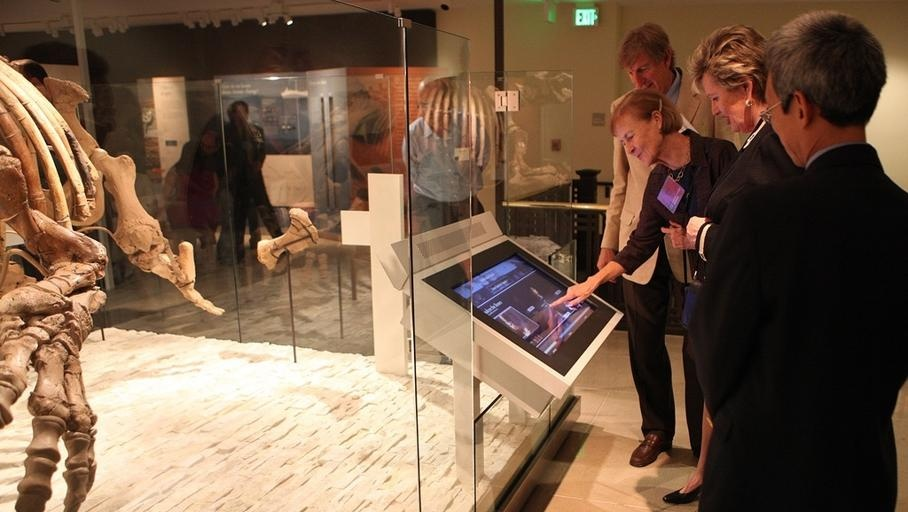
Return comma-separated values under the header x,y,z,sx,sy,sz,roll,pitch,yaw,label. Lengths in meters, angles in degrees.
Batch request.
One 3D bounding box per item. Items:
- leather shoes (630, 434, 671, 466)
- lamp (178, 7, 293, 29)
x,y,z,sx,sy,sz,roll,pitch,yaw,label
1.048,1.021,3.550,0.314,0.117,0.103,-13,27,-38,leather shoes
-0.629,-0.688,1.881,0.332,0.059,0.056,-2,2,2,lamp
